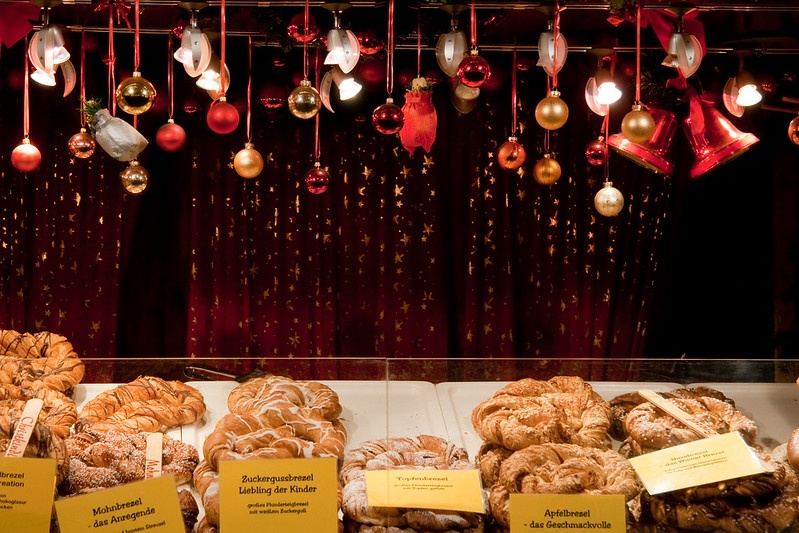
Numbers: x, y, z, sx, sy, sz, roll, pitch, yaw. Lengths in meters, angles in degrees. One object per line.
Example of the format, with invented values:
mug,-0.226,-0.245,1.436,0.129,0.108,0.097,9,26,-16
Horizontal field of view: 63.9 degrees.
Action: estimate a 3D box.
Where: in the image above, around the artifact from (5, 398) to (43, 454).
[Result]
artifact,-0.739,0.308,1.260,0.024,0.008,0.122,10,40,-2
